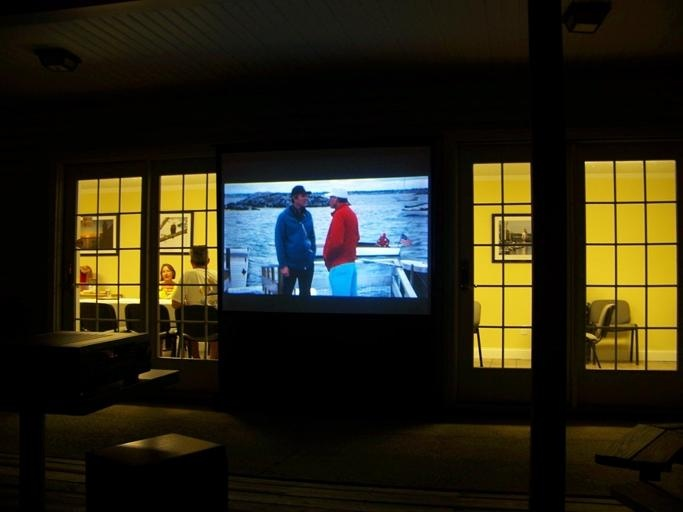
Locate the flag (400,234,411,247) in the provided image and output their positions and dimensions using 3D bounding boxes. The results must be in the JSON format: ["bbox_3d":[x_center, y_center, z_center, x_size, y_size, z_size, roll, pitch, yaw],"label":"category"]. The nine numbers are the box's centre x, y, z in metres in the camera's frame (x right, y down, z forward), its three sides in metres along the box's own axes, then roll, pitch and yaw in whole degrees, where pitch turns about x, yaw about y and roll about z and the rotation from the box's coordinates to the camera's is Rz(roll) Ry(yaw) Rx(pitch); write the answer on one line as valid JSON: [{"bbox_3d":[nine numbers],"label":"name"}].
[{"bbox_3d":[0.552,-0.136,5.526,0.099,0.108,0.023,1,10,8],"label":"flag"}]

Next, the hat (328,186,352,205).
[{"bbox_3d":[-0.014,-0.533,5.641,0.171,0.082,0.109,15,10,17],"label":"hat"}]
